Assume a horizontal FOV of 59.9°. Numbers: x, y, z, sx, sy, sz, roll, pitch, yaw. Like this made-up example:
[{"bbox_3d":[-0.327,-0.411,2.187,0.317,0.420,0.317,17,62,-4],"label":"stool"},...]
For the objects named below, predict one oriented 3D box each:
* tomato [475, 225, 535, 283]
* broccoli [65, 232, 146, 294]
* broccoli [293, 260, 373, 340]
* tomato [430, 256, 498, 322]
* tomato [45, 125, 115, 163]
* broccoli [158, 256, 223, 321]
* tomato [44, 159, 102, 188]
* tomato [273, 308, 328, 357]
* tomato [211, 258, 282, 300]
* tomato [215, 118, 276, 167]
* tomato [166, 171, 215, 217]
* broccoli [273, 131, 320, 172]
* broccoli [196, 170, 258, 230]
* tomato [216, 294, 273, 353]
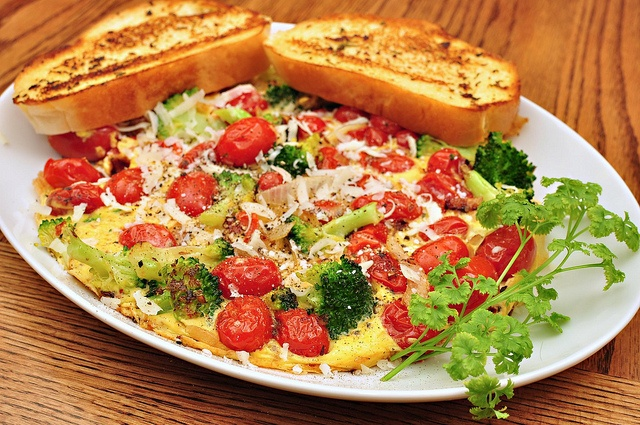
[{"bbox_3d":[1.110,0.221,3.255,0.261,0.257,0.344,18,68,31],"label":"tomato"},{"bbox_3d":[-1.160,0.294,3.065,0.430,0.240,0.156,31,88,-1],"label":"broccoli"},{"bbox_3d":[0.086,0.484,3.068,0.383,0.175,0.383,-29,79,-13],"label":"broccoli"},{"bbox_3d":[0.814,0.411,3.080,0.195,0.259,0.351,41,65,-18],"label":"tomato"},{"bbox_3d":[-1.564,-0.479,3.676,0.275,0.278,0.114,2,104,8],"label":"tomato"},{"bbox_3d":[-0.668,0.413,2.895,0.245,0.080,0.307,-11,74,-11],"label":"broccoli"},{"bbox_3d":[-1.560,-0.273,3.500,0.261,0.156,0.190,-2,42,-26],"label":"tomato"},{"bbox_3d":[-0.089,0.630,2.874,0.269,0.073,0.240,-3,62,-4],"label":"tomato"},{"bbox_3d":[-0.386,0.347,2.983,0.283,0.146,0.215,-1,48,-6],"label":"tomato"},{"bbox_3d":[-0.470,-0.461,3.493,0.347,0.202,0.249,-25,55,-14],"label":"tomato"},{"bbox_3d":[-0.748,-0.105,3.355,0.264,0.148,0.259,-5,54,-2],"label":"tomato"},{"bbox_3d":[-0.128,-0.368,3.488,0.190,0.116,0.255,30,50,28],"label":"broccoli"},{"bbox_3d":[-0.545,-0.082,3.297,0.312,0.085,0.329,-7,48,-4],"label":"broccoli"},{"bbox_3d":[-0.388,0.584,2.862,0.285,0.105,0.279,-28,67,-16],"label":"tomato"}]
